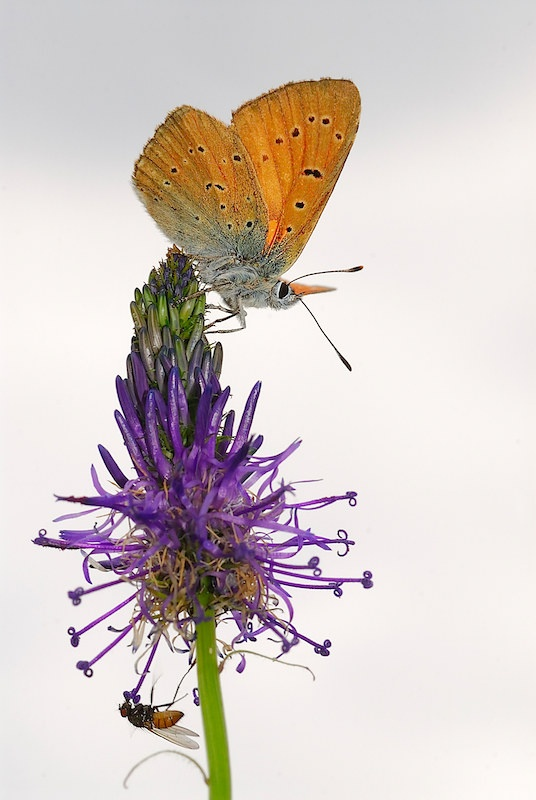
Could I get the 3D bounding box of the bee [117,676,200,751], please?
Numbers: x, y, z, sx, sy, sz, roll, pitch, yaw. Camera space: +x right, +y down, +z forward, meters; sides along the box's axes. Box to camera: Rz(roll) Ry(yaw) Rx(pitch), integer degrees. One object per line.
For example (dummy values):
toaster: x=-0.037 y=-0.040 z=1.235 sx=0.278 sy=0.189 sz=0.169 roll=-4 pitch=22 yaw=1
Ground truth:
bee: x=-0.426 y=1.196 z=3.357 sx=0.360 sy=0.112 sz=0.232 roll=22 pitch=-42 yaw=5

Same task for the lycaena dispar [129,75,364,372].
lycaena dispar: x=-0.122 y=-0.837 z=3.733 sx=0.965 sy=1.319 sz=0.813 roll=8 pitch=-43 yaw=-7
